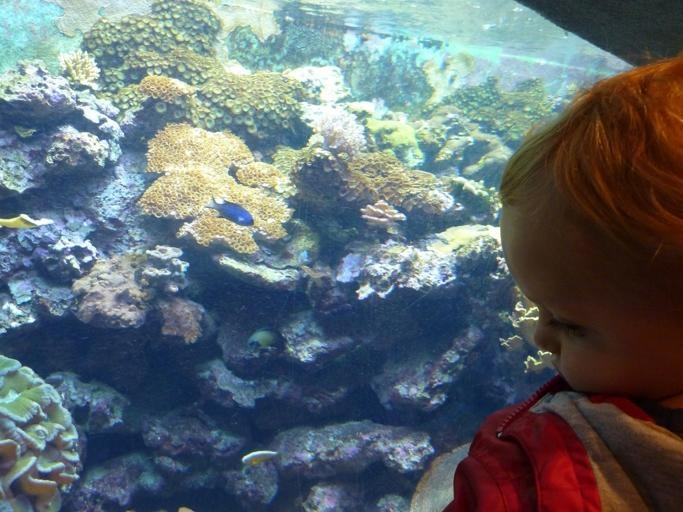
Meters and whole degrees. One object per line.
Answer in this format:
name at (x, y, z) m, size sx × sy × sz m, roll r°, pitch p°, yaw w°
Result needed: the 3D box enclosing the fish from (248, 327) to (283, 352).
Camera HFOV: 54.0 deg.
fish at (-1.135, 1.251, 10.053) m, size 0.514 × 0.266 × 0.265 m, roll 6°, pitch 40°, yaw -12°
